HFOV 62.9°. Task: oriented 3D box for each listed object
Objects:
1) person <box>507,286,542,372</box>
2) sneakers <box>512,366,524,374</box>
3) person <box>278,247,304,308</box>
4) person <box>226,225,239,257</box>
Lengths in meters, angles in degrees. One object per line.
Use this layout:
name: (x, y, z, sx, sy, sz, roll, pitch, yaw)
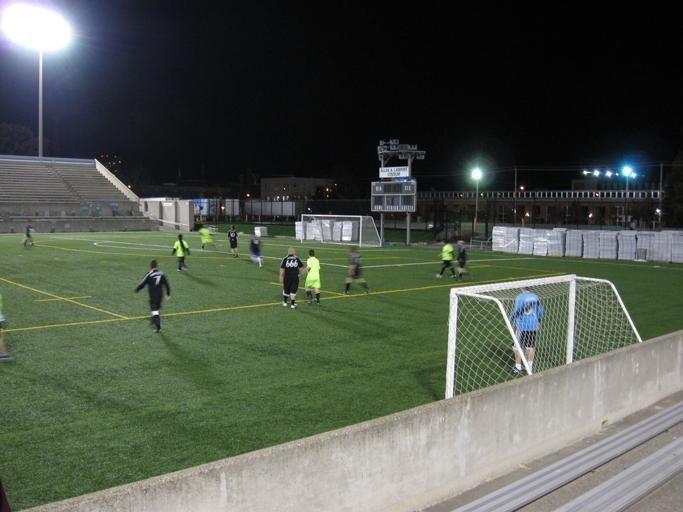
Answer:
person: (3.563, 1.509, 10.859, 0.601, 1.604, 1.739, 2, 7, 19)
sneakers: (3.504, 2.248, 11.071, 0.324, 0.156, 0.107, 12, 7, -40)
person: (-1.553, 0.616, 16.591, 0.603, 1.762, 0.606, 3, 16, 2)
person: (-6.127, -0.821, 31.556, 0.377, 1.693, 2.310, -2, 7, -14)
